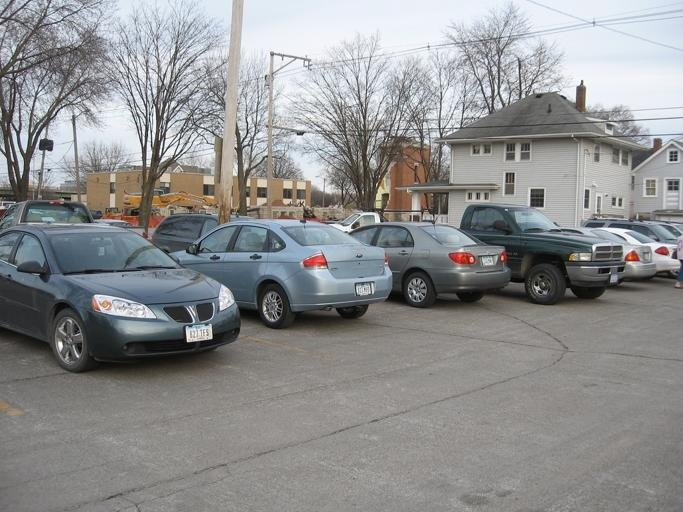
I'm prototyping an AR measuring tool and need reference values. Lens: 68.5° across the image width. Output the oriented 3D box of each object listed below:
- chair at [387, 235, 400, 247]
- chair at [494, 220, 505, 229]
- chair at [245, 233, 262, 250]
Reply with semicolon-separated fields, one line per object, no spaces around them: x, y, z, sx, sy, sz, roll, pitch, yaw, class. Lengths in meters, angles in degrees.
1.276;-0.352;12.233;0.239;0.164;0.239;-3;-8;35;chair
4.165;-0.805;13.326;0.309;0.316;0.183;1;-7;-4;chair
-1.651;-0.238;9.615;0.169;0.303;0.518;-3;6;-41;chair
